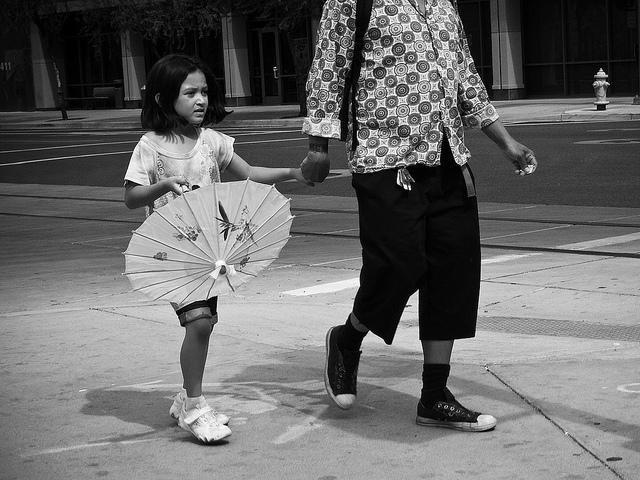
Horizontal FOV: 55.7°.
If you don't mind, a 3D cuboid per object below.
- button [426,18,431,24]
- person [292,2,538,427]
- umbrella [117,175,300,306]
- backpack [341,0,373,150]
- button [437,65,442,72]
[{"bbox_3d":[0.474,-0.962,2.656,0.015,0.025,0.007,-5,6,-7],"label":"button"},{"bbox_3d":[0.405,-0.119,2.718,1.000,1.885,0.531,-5,11,-3],"label":"person"},{"bbox_3d":[-0.392,-0.077,2.637,0.149,0.429,0.452,39,12,2],"label":"umbrella"},{"bbox_3d":[0.158,-0.732,2.691,0.109,0.623,0.142,-14,14,-41],"label":"backpack"},{"bbox_3d":[0.521,-0.752,2.650,0.023,0.022,0.008,-4,-8,-14],"label":"button"}]
